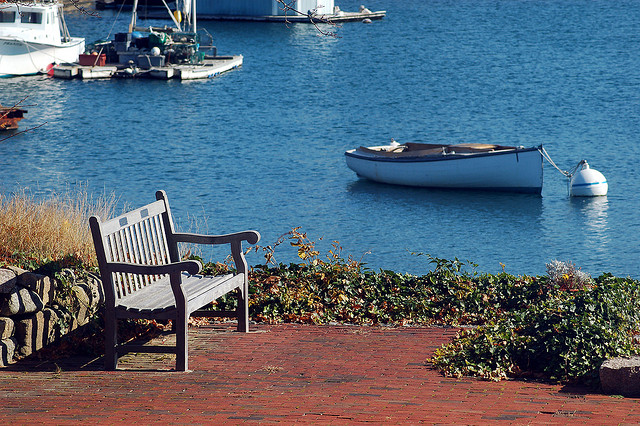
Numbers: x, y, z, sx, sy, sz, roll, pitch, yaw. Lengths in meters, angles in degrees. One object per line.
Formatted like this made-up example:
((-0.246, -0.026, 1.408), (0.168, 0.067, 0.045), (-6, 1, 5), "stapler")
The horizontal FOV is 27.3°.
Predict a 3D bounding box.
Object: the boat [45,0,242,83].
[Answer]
((-9.633, -11.083, 90.976), (8.896, 3.680, 10.753), (9, 14, 27), "boat")
